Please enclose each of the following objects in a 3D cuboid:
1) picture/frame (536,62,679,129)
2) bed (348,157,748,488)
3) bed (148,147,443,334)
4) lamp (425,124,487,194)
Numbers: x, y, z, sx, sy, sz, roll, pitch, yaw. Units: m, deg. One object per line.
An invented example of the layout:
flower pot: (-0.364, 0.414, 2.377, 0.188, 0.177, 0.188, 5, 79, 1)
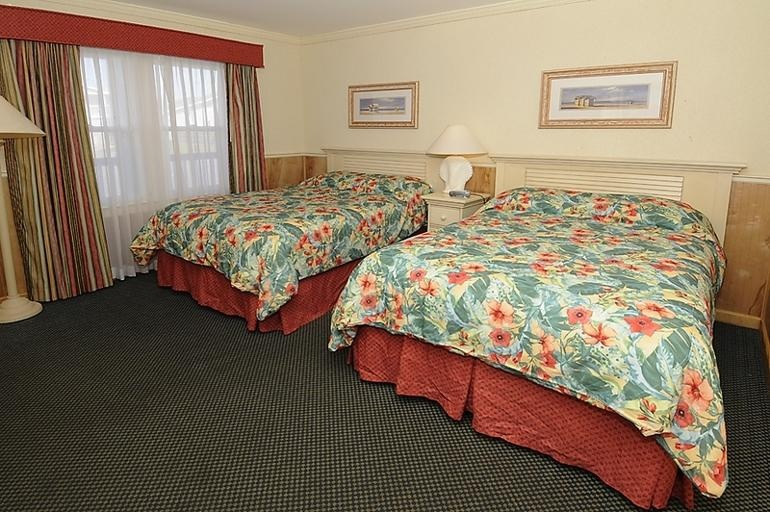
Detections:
picture/frame: (2.092, -1.517, 4.523, 1.187, 0.582, 0.079, 10, 21, 27)
bed: (1.190, 0.456, 3.201, 2.376, 1.193, 0.180, 3, 2, 31)
bed: (-0.849, -0.231, 5.078, 2.888, 1.093, 1.946, -15, 23, -41)
lamp: (0.789, -1.057, 5.207, 0.726, 0.695, 0.691, 8, 14, 37)
